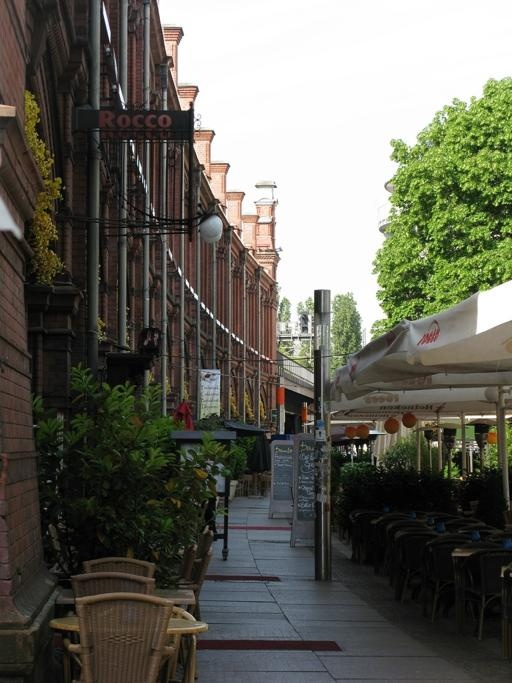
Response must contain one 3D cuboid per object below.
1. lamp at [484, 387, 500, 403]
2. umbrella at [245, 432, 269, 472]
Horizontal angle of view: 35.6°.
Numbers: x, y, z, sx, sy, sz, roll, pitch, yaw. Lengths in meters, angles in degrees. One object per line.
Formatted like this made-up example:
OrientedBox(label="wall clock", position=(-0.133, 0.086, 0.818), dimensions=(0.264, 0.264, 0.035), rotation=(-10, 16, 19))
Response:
OrientedBox(label="lamp", position=(4.448, 0.996, 14.938), dimensions=(0.265, 0.305, 0.261), rotation=(-4, 10, -14))
OrientedBox(label="umbrella", position=(0.099, 4.778, 34.295), dimensions=(0.808, 1.640, 2.563), rotation=(1, -10, 5))
